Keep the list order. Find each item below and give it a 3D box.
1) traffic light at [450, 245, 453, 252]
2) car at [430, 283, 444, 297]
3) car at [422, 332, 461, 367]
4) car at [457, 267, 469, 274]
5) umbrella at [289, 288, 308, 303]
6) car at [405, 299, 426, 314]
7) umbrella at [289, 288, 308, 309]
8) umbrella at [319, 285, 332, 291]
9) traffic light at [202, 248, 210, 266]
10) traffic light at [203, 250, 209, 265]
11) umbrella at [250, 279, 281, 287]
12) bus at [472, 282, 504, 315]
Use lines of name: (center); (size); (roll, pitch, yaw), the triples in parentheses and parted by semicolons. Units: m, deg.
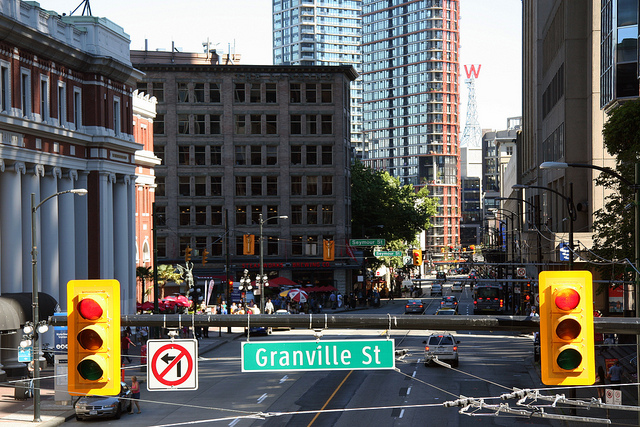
traffic light: (31.900, 8.328, 268.475); (0.640, 1.550, 1.203); (-4, -5, 10)
car: (15.978, 10.361, 151.344); (1.623, 1.305, 2.681); (1, 2, 7)
car: (8.372, 9.818, 75.918); (2.947, 2.139, 5.130); (0, -1, 6)
car: (36.496, 14.434, 281.555); (2.443, 1.122, 1.706); (3, -2, -18)
umbrella: (-2.078, 7.543, 103.386); (1.568, 1.118, 2.256); (-3, -6, -3)
car: (9.442, 9.115, 109.929); (1.553, 0.927, 2.846); (0, -5, 5)
umbrella: (-2.063, 7.541, 103.798); (1.514, 1.207, 3.055); (-3, -6, -2)
umbrella: (0.689, 8.139, 122.124); (1.100, 0.529, 2.290); (-4, -6, 5)
traffic light: (-11.858, 4.453, 114.168); (0.740, 0.416, 2.051); (3, -31, -3)
traffic light: (-11.529, 4.368, 111.282); (0.643, 0.454, 1.943); (0, -34, -4)
umbrella: (-5.211, 6.703, 107.731); (1.617, 0.664, 2.288); (0, -7, -3)
bus: (17.575, 9.266, 115.345); (3.249, 2.765, 5.443); (1, 0, 9)
